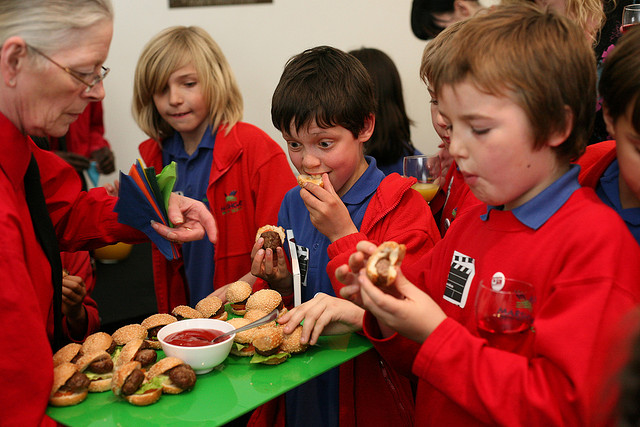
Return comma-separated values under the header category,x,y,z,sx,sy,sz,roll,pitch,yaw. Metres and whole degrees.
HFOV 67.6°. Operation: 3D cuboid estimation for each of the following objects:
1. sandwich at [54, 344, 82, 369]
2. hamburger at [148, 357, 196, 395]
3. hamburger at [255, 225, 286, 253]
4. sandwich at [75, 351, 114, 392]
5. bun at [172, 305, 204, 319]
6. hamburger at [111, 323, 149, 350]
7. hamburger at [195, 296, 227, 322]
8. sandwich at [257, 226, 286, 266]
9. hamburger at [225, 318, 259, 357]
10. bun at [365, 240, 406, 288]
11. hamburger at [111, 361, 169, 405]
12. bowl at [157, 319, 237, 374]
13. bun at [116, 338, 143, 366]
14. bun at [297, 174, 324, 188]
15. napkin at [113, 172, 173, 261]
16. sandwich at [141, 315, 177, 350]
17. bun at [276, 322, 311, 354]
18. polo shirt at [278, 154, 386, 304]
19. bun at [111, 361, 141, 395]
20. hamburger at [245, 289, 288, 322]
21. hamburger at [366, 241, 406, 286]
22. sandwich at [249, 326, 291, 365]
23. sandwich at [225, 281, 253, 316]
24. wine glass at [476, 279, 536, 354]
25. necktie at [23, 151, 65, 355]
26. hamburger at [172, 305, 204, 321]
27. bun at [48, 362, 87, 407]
category,x,y,z,sx,sy,sz,roll,pitch,yaw
sandwich,-0.989,0.569,1.886,0.108,0.036,0.130,-16,-26,-16
hamburger,-0.539,0.603,1.760,0.137,0.060,0.163,9,2,40
hamburger,-0.269,0.127,2.488,0.150,0.090,0.191,9,43,-17
sandwich,-0.838,0.585,1.782,0.121,0.085,0.130,3,-5,-2
bun,-0.594,0.444,2.147,0.081,0.029,0.069,12,-7,23
hamburger,-0.784,0.501,1.955,0.097,0.040,0.113,-2,24,7
hamburger,-0.480,0.431,2.163,0.105,0.084,0.108,-9,-13,-30
sandwich,-0.248,0.166,2.486,0.127,0.083,0.186,0,33,6
hamburger,-0.314,0.534,1.979,0.131,0.093,0.142,-1,-5,24
bun,0.227,0.159,1.659,0.052,0.165,0.114,31,-30,-33
hamburger,-0.673,0.618,1.744,0.217,0.128,0.194,3,-1,3
bowl,-0.493,0.477,1.882,0.199,0.102,0.213,0,7,0
bun,-0.747,0.538,1.864,0.057,0.019,0.089,-29,27,32
bun,-0.041,-0.154,2.308,0.117,0.062,0.217,-6,9,-2
napkin,-0.851,-0.093,2.399,0.097,0.397,0.351,-25,49,-14
sandwich,-0.694,0.497,2.021,0.114,0.093,0.121,-1,-3,-6
bun,-0.105,0.506,1.924,0.082,0.119,0.043,-1,-14,-20
polo shirt,0.034,0.098,2.478,0.622,0.684,0.491,-4,9,12
bun,-0.685,0.587,1.711,0.029,0.105,0.092,21,10,-13
hamburger,-0.250,0.411,2.183,0.126,0.085,0.134,-12,4,16
hamburger,0.231,0.185,1.670,0.117,0.156,0.055,44,14,27
sandwich,-0.186,0.518,1.869,0.126,0.081,0.126,-4,5,-37
sandwich,-0.392,0.409,2.290,0.116,0.134,0.123,15,12,41
wine glass,0.647,0.358,1.692,0.219,0.266,0.229,3,0,36
necktie,-1.245,0.178,2.178,0.092,0.884,0.214,-10,10,-30
hamburger,-0.598,0.445,2.141,0.088,0.035,0.072,12,-7,44
bun,-0.933,0.627,1.768,0.145,0.154,0.149,1,7,-34
